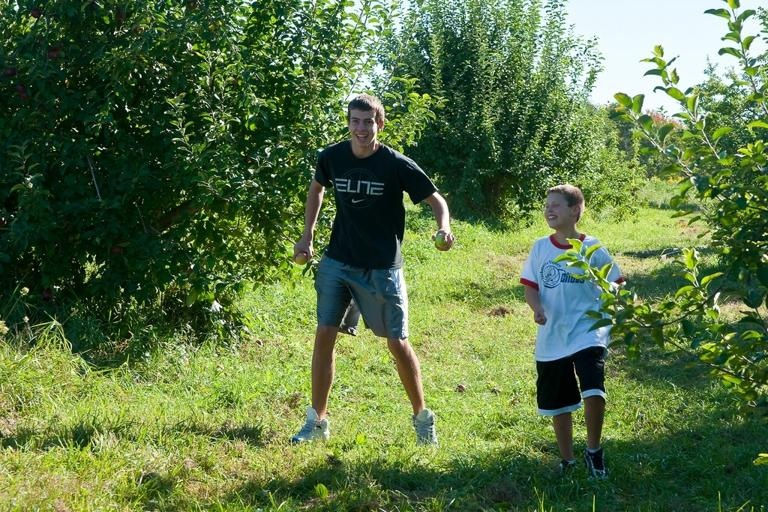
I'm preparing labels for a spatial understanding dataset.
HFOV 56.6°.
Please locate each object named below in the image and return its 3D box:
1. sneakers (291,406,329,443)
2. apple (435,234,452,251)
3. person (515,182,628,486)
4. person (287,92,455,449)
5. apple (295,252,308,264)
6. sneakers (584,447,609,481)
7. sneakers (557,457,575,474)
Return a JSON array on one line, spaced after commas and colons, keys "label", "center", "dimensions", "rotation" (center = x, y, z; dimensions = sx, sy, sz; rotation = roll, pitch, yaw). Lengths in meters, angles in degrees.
[{"label": "sneakers", "center": [-0.611, 1.409, 5.870], "dimensions": [0.181, 0.261, 0.391], "rotation": [-2, -4, 35]}, {"label": "apple", "center": [0.474, -0.099, 5.760], "dimensions": [0.128, 0.155, 0.129], "rotation": [-9, -7, 5]}, {"label": "person", "center": [1.425, 0.542, 5.496], "dimensions": [0.531, 2.074, 0.923], "rotation": [-1, 12, -23]}, {"label": "person", "center": [-0.083, 0.093, 5.976], "dimensions": [1.101, 2.776, 0.795], "rotation": [3, 11, -4]}, {"label": "apple", "center": [-0.675, 0.015, 5.915], "dimensions": [0.131, 0.090, 0.115], "rotation": [3, 12, -8]}, {"label": "sneakers", "center": [1.601, 1.562, 5.367], "dimensions": [0.095, 0.281, 0.126], "rotation": [-5, -30, -5]}, {"label": "sneakers", "center": [1.389, 1.589, 5.422], "dimensions": [0.123, 0.086, 0.101], "rotation": [5, 12, 5]}]
